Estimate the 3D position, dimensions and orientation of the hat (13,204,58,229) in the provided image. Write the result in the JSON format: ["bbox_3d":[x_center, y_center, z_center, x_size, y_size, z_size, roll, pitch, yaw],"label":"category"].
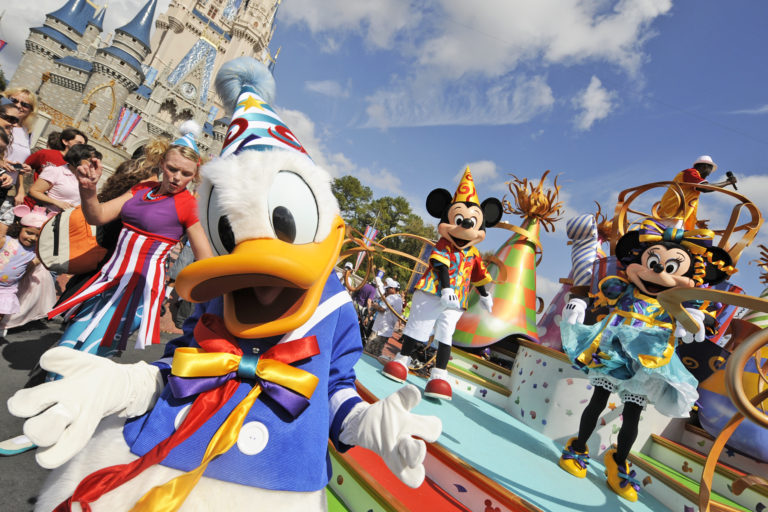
[{"bbox_3d":[-3.761,-0.427,4.683,0.355,0.268,0.338,-2,-7,35],"label":"hat"}]

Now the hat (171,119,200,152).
[{"bbox_3d":[-1.752,-1.104,3.875,0.237,0.202,0.249,3,11,-37],"label":"hat"}]

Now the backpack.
[{"bbox_3d":[-2.514,-0.168,3.630,0.548,0.575,0.392,4,17,-21],"label":"backpack"}]

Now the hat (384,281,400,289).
[{"bbox_3d":[0.180,0.777,12.426,0.507,0.251,0.693,4,-7,-4],"label":"hat"}]
